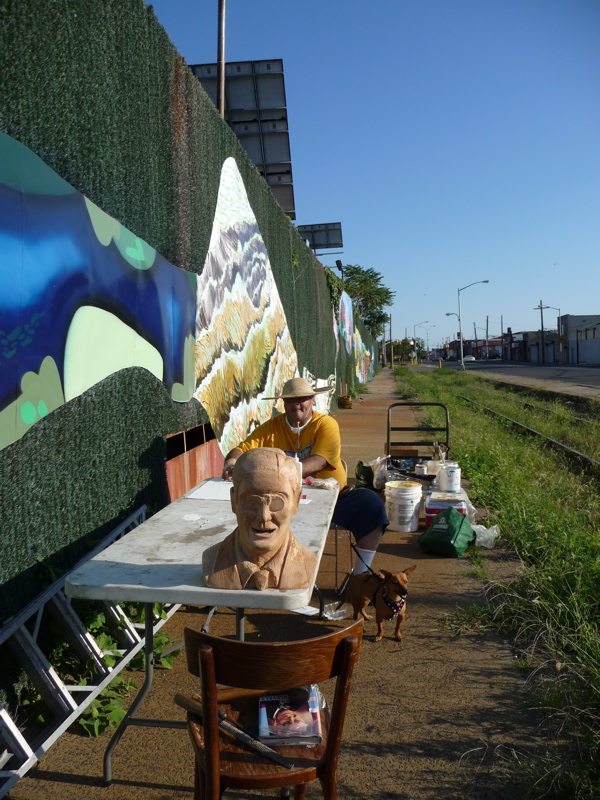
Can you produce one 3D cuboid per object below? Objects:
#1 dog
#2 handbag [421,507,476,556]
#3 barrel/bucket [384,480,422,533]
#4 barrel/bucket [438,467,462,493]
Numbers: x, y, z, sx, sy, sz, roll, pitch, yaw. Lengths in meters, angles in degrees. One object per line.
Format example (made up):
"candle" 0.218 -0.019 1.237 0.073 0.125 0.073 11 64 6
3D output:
"dog" 0.504 1.335 3.798 0.197 0.527 0.714 -1 1 -26
"handbag" 1.414 1.261 5.443 0.500 0.412 0.573 7 6 0
"barrel/bucket" 1.118 1.141 6.208 0.456 0.619 0.552 0 -2 7
"barrel/bucket" 1.642 0.856 6.144 0.236 0.306 0.252 2 0 0
